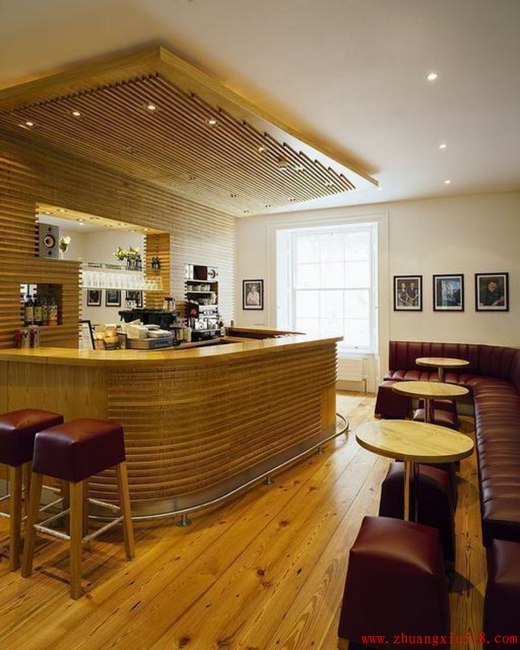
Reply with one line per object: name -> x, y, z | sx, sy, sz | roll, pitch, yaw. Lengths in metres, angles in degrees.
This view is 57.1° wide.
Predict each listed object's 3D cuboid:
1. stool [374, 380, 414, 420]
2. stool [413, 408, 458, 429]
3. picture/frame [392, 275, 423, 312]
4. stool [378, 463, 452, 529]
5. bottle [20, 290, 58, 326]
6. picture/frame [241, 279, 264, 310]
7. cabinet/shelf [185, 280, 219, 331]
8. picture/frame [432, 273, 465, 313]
stool -> 1.582, 0.889, 5.867 | 0.517, 0.458, 0.524 | 0, 1, 23
stool -> 1.473, 0.791, 4.070 | 0.253, 0.172, 0.346 | 0, -2, 25
picture/frame -> 2.252, -0.487, 7.303 | 0.566, 0.784, 0.078 | 0, -1, 28
stool -> 0.883, 0.920, 2.728 | 0.379, 0.343, 0.389 | -2, -5, 31
bottle -> -2.150, -0.148, 4.684 | 0.119, 0.361, 0.353 | -2, 0, 31
picture/frame -> -0.121, -0.548, 8.449 | 0.551, 0.708, 0.047 | 0, 1, 32
cabinet/shelf -> -0.868, -0.289, 7.375 | 0.232, 0.777, 0.827 | -2, 2, 23
picture/frame -> 2.767, -0.478, 7.015 | 0.587, 0.818, 0.054 | 0, -2, 31
